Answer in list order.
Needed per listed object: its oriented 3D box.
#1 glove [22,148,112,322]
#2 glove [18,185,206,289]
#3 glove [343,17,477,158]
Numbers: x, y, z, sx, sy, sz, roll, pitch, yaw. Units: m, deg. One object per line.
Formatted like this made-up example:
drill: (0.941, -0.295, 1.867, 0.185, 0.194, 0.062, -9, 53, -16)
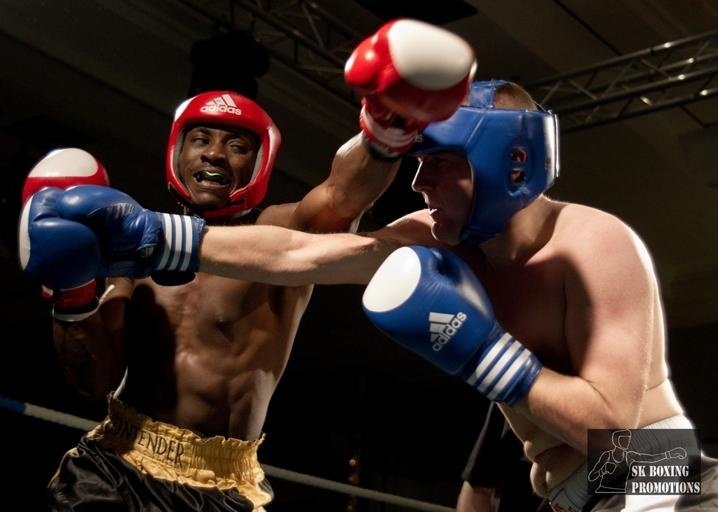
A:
glove: (-1.338, -0.127, 3.383, 0.372, 0.775, 0.391, 12, 9, 21)
glove: (-0.919, -0.077, 2.661, 0.541, 0.288, 0.402, 3, 28, -32)
glove: (0.148, -0.730, 2.895, 0.449, 0.531, 0.563, 7, 30, -21)
